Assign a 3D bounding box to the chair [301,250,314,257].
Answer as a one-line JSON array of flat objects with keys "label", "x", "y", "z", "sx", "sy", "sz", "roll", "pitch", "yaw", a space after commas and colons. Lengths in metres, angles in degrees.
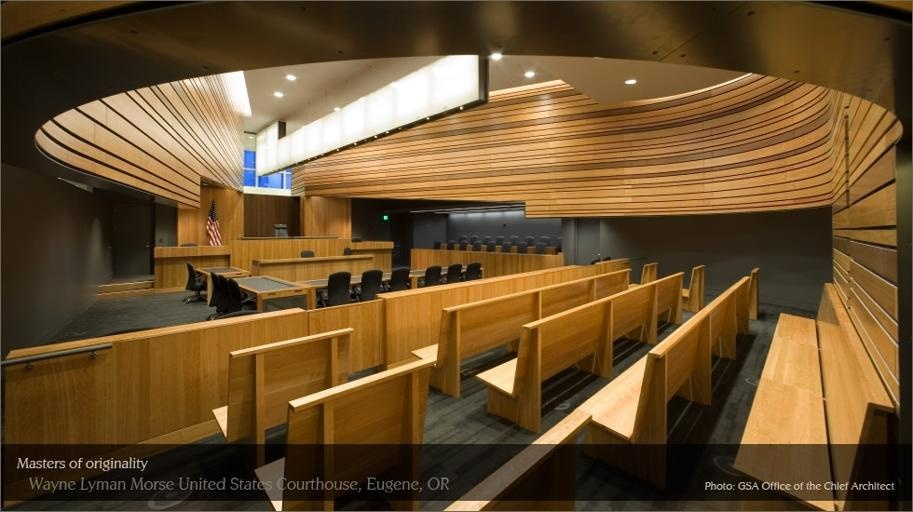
[{"label": "chair", "x": -3.701, "y": -0.044, "z": 12.489, "sx": 0.198, "sy": 0.288, "sz": 0.186, "roll": 4, "pitch": 4, "yaw": 41}]
